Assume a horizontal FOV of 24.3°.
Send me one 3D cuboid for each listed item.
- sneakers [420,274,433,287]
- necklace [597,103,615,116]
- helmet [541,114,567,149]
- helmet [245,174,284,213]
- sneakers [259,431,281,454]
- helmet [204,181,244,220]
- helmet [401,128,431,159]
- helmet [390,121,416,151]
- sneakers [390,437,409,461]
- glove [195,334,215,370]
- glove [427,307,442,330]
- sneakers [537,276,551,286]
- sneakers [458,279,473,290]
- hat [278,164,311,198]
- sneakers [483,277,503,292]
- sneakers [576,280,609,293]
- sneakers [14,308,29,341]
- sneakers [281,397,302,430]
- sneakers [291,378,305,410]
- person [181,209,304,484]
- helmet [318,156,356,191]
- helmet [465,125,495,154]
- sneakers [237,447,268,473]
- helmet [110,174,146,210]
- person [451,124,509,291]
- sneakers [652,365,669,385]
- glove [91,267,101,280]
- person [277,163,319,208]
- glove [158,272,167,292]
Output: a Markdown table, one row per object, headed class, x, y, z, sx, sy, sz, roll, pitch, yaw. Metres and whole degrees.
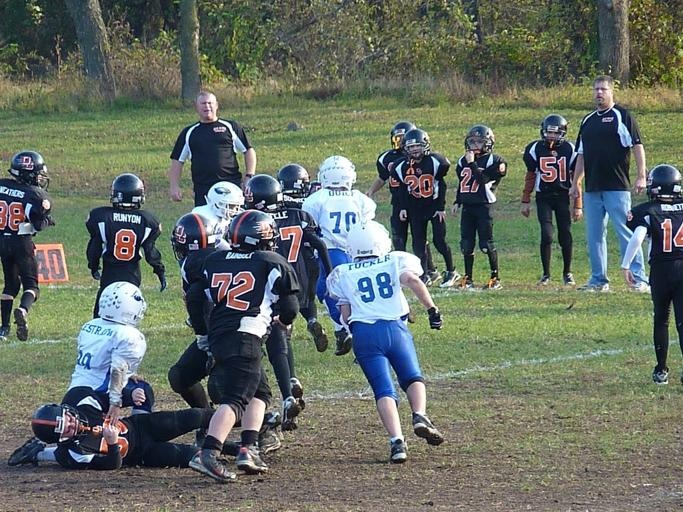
| class | x | y | z | sx | sy | sz | roll | pitch | yaw |
| --- | --- | --- | --- | --- | --- | --- | --- | --- | --- |
| sneakers | 1.615 | 0.444 | 29.572 | 0.191 | 0.341 | 0.149 | 2 | -5 | -37 |
| necklace | 4.652 | -2.636 | 27.937 | 0.200 | 0.242 | 0.268 | -2 | -8 | 43 |
| helmet | 3.929 | -2.388 | 29.290 | 0.443 | 0.493 | 0.595 | 5 | 22 | 13 |
| helmet | -1.234 | -1.029 | 24.923 | 0.597 | 0.525 | 0.481 | 20 | 27 | 31 |
| sneakers | -1.078 | 2.817 | 23.889 | 0.179 | 0.252 | 0.487 | 2 | 9 | 40 |
| helmet | -1.773 | -0.888 | 24.837 | 0.605 | 0.514 | 0.455 | 3 | 8 | 10 |
| helmet | 1.381 | -2.053 | 29.030 | 0.481 | 0.564 | 0.411 | -3 | 5 | -1 |
| helmet | 1.259 | -2.286 | 29.803 | 0.513 | 0.446 | 0.420 | -4 | 4 | -20 |
| sneakers | 0.865 | 2.881 | 23.490 | 0.262 | 0.388 | 0.290 | -2 | 5 | 1 |
| glove | -2.025 | 1.453 | 23.852 | 0.179 | 0.495 | 0.355 | -9 | -1 | -43 |
| glove | 1.405 | 0.942 | 23.942 | 0.243 | 0.331 | 0.160 | -20 | 4 | -40 |
| sneakers | 3.742 | 0.464 | 29.354 | 0.274 | 0.194 | 0.108 | 4 | -3 | 28 |
| sneakers | 2.338 | 0.492 | 29.363 | 0.259 | 0.212 | 0.390 | -2 | 5 | 5 |
| hat | -0.748 | -1.222 | 25.969 | 0.561 | 0.551 | 0.440 | -1 | 10 | -35 |
| sneakers | 2.837 | 0.531 | 29.278 | 0.161 | 0.213 | 0.461 | 2 | 0 | 20 |
| sneakers | 4.551 | 0.542 | 28.583 | 0.575 | 0.237 | 0.209 | 4 | 2 | 6 |
| sneakers | -5.425 | 1.159 | 27.061 | 0.210 | 0.554 | 0.260 | 1 | 0 | 4 |
| sneakers | -0.740 | 2.371 | 23.953 | 0.222 | 0.530 | 0.251 | 6 | 3 | -9 |
| sneakers | -0.613 | 2.123 | 24.226 | 0.179 | 0.537 | 0.233 | -16 | 10 | -26 |
| person | -1.447 | 1.314 | 23.420 | 1.559 | 3.915 | 0.778 | -3 | 5 | -6 |
| helmet | -0.029 | -1.397 | 26.313 | 0.469 | 0.495 | 0.600 | 3 | 13 | 2 |
| helmet | 2.590 | -2.176 | 29.541 | 0.484 | 0.507 | 0.559 | -2 | 5 | 7 |
| sneakers | -1.300 | 3.014 | 23.288 | 0.238 | 0.277 | 0.552 | 1 | -9 | 21 |
| helmet | -3.449 | -1.089 | 25.992 | 0.458 | 0.563 | 0.579 | 5 | 18 | -2 |
| person | 2.601 | -0.921 | 29.411 | 0.935 | 2.982 | 0.766 | -1 | 5 | 11 |
| sneakers | 5.050 | 1.916 | 24.956 | 0.225 | 0.238 | 0.236 | 1 | -5 | -5 |
| glove | -4.018 | 0.285 | 26.107 | 0.213 | 0.198 | 0.180 | -5 | 0 | 44 |
| person | -0.734 | -1.175 | 25.972 | 0.707 | 0.719 | 0.531 | -10 | 15 | -38 |
| glove | -3.070 | 0.456 | 27.306 | 0.131 | 0.148 | 0.431 | -44 | 5 | -5 |
